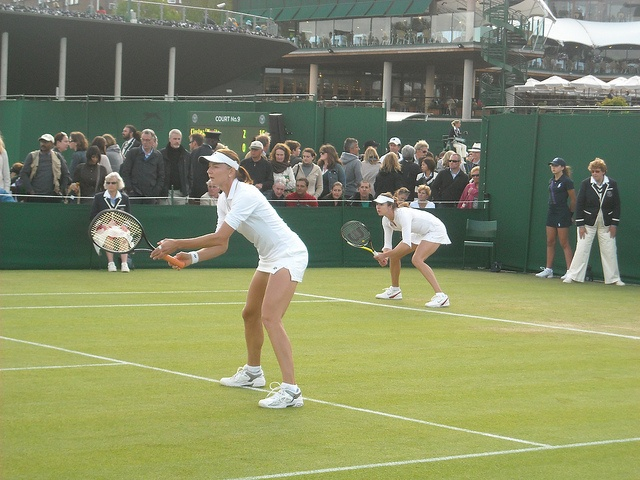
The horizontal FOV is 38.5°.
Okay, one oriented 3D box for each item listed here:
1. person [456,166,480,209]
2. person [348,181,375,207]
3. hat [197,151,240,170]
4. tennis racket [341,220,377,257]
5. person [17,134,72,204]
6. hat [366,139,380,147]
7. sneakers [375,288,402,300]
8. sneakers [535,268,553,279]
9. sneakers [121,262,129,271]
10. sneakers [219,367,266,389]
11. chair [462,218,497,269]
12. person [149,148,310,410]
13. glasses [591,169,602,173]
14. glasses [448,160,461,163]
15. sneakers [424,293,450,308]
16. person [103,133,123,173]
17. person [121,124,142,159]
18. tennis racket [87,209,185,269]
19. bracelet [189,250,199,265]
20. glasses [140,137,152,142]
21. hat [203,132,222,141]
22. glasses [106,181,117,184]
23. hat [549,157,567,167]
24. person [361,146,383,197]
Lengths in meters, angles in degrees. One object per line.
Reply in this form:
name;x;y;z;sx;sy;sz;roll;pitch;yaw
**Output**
person;3.525;-1.088;21.275;0.438;1.170;0.330;9;-21;15
person;0.909;-0.973;20.094;0.826;0.633;0.462;1;-16;0
hat;-1.078;-0.857;9.994;0.355;0.200;0.252;1;8;-3
tennis racket;0.626;-0.061;15.663;0.304;0.078;1.033;-30;49;-19
person;-5.718;-1.477;18.970;0.980;1.401;0.594;-1;8;-18
hat;1.175;-2.152;20.427;0.293;0.162;0.206;-1;7;-14
sneakers;1.166;0.936;15.856;0.514;0.234;0.173;2;-4;-6
sneakers;4.815;0.717;19.779;0.430;0.275;0.170;2;0;11
sneakers;-4.004;0.540;18.651;0.186;0.178;0.407;0;-1;-20
sneakers;-0.874;1.597;10.598;0.571;0.267;0.206;3;-4;-3
chair;3.578;0.095;20.565;0.858;1.135;0.866;5;-2;-19
person;-0.822;0.389;10.118;1.362;2.710;1.088;2;8;3
glasses;5.489;-1.373;18.185;0.213;0.071;0.064;7;10;36
glasses;2.997;-1.754;20.314;0.236;0.082;0.334;3;8;9
sneakers;1.906;1.007;15.231;0.491;0.234;0.177;-1;-1;-2
person;-4.566;-1.927;20.175;0.351;0.353;1.071;-8;-35;-13
person;-4.330;-2.214;20.836;0.449;0.785;0.676;-12;24;-40
tennis racket;-2.309;0.074;12.093;0.130;0.534;1.860;17;-10;33
bracelet;-1.373;0.187;9.822;0.098;0.098;0.125;1;-12;5
glasses;-3.486;-2.024;18.330;0.196;0.079;0.261;0;-1;3
hat;-2.355;-2.241;19.509;0.330;0.146;0.347;-1;5;-37
glasses;-4.006;-1.096;17.505;0.201;0.064;0.072;3;8;10
hat;4.911;-1.588;18.817;0.294;0.163;0.204;12;0;-19
person;1.145;-1.467;20.658;0.602;1.351;0.436;-5;28;-12
